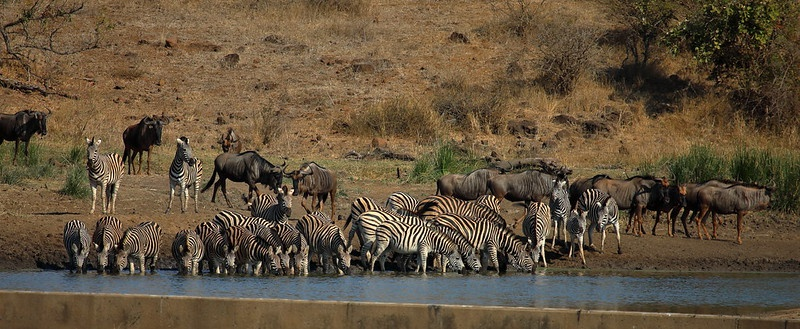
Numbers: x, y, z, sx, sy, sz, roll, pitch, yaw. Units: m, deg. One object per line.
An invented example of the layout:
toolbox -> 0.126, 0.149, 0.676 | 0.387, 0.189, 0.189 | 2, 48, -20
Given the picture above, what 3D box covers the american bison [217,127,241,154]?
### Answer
american bison -> -10.854, -1.479, 74.206 | 0.725, 1.505, 1.345 | -2, -8, 16
